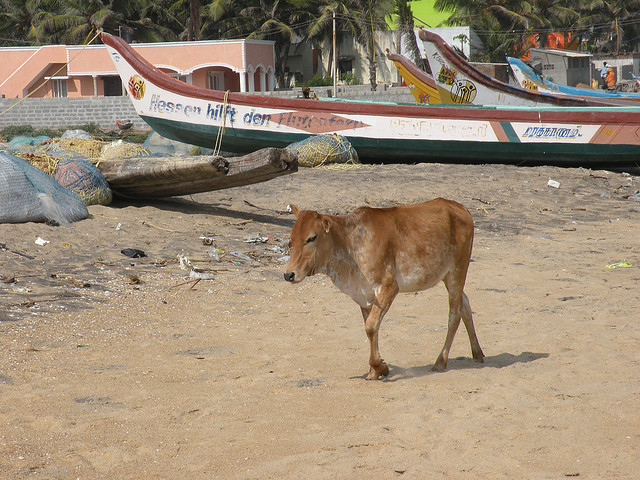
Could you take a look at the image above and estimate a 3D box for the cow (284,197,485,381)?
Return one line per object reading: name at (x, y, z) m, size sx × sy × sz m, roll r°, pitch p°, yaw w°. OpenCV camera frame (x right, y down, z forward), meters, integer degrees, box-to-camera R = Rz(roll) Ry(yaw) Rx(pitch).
cow at (0.839, 0.591, 11.857) m, size 2.679 × 2.040 × 0.750 m, roll -4°, pitch 8°, yaw -23°
